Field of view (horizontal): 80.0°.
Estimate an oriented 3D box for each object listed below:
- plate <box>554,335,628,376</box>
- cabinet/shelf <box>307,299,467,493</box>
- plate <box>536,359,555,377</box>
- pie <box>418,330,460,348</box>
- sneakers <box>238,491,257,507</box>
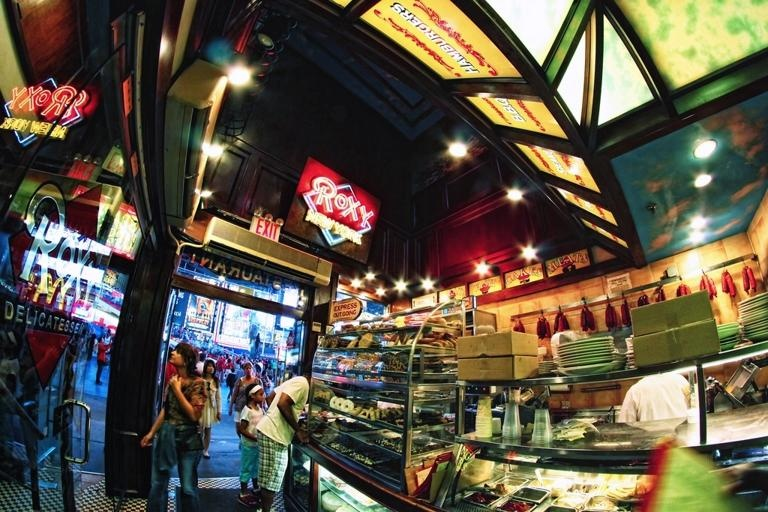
[{"bbox_3d":[1.596,0.761,3.417,0.377,0.152,0.364,11,-13,-25],"label":"plate"},{"bbox_3d":[-0.095,1.408,4.885,0.672,1.647,1.805,12,-15,-35],"label":"cabinet/shelf"},{"bbox_3d":[1.296,0.901,3.649,0.117,0.060,0.114,6,-4,-38],"label":"plate"},{"bbox_3d":[0.533,0.829,4.515,0.212,0.086,0.305,-8,-18,43],"label":"pie"},{"bbox_3d":[-1.498,2.689,5.030,0.222,0.087,0.104,-13,-25,41],"label":"sneakers"}]
